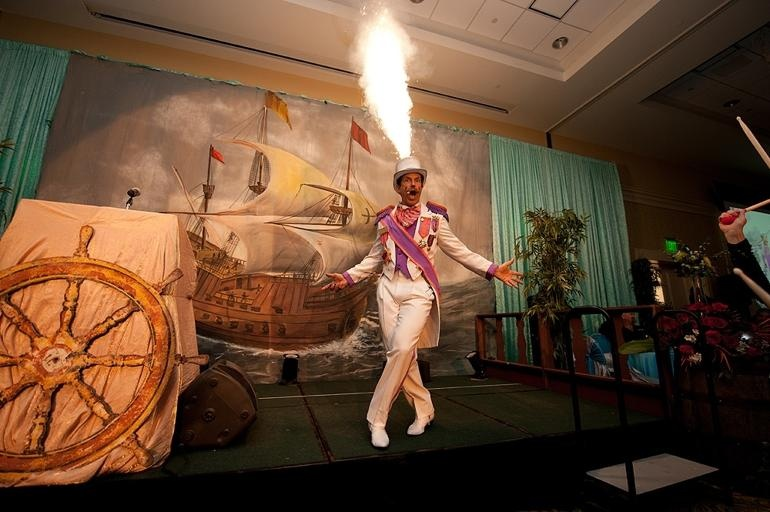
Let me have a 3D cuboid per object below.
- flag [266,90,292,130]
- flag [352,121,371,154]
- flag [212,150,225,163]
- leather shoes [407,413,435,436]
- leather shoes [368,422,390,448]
[{"bbox_3d":[-1.694,-2.255,6.812,0.635,0.559,0.170,-2,-3,-1],"label":"flag"},{"bbox_3d":[-0.412,-1.918,7.112,0.530,0.531,0.054,6,-13,-32],"label":"flag"},{"bbox_3d":[-2.503,-1.466,6.443,0.204,0.240,0.026,1,-8,-31],"label":"flag"},{"bbox_3d":[0.345,1.615,4.274,0.307,0.128,0.112,-3,6,-39],"label":"leather shoes"},{"bbox_3d":[-0.050,1.622,3.985,0.181,0.176,0.168,2,-5,0],"label":"leather shoes"}]
